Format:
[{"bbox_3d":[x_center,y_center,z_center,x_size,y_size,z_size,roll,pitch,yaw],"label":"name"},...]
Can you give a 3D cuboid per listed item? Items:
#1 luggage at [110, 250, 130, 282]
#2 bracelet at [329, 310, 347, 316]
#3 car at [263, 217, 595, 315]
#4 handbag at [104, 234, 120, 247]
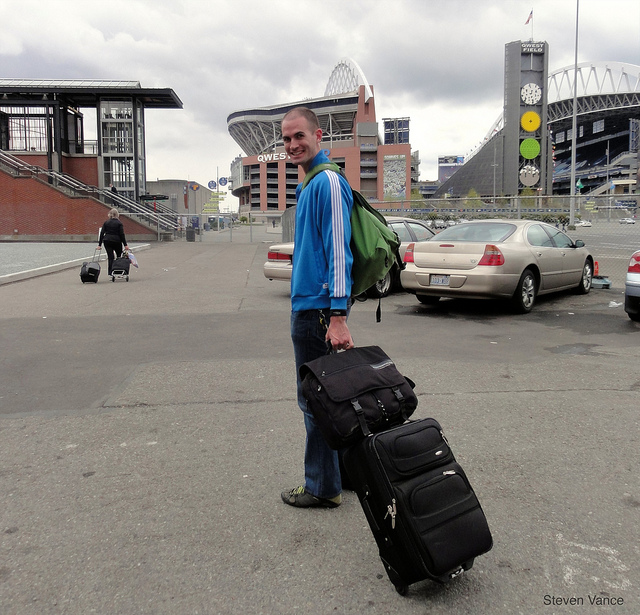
[{"bbox_3d":[-5.089,-0.941,16.522,0.285,0.396,1.051,-2,33,-13],"label":"luggage"},{"bbox_3d":[0.095,0.028,3.094,0.084,0.029,0.061,-2,8,-14],"label":"bracelet"},{"bbox_3d":[1.777,-0.477,8.658,2.870,1.045,1.224,-13,12,-40],"label":"car"},{"bbox_3d":[-5.466,-1.776,17.125,0.417,0.204,0.131,-5,8,-32],"label":"handbag"}]
